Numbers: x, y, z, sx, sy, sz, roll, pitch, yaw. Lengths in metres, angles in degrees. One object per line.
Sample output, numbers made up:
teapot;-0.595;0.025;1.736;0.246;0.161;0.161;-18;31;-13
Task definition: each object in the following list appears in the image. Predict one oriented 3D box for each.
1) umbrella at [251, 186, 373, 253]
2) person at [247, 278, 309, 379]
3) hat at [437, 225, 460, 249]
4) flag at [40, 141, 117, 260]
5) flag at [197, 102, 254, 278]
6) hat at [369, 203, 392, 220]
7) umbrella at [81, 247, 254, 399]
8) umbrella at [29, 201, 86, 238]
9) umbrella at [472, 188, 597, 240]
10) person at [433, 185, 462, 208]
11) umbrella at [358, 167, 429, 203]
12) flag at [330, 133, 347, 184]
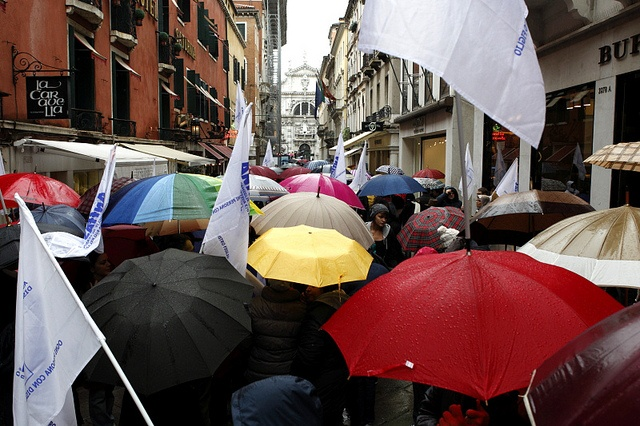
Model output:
umbrella;-0.080;0.016;8.190;1.025;0.511;1.138;7;28;-5
person;-0.450;1.227;5.817;0.631;1.036;0.364;1;5;-1
hat;1.676;0.331;7.380;0.216;0.311;0.125;13;3;40
flag;-2.120;-0.154;5.291;0.609;0.859;0.425;27;24;25
flag;-0.971;-0.369;6.258;0.478;2.237;0.328;5;-21;-2
hat;0.947;-0.027;8.679;0.212;0.212;0.237;-3;10;-21
umbrella;-1.454;1.047;5.356;1.410;0.939;1.549;2;43;-9
umbrella;-3.157;0.090;6.825;0.472;0.275;0.512;5;29;-12
umbrella;2.605;0.052;7.208;0.892;0.419;0.972;-5;-3;24
person;2.740;-0.332;11.972;0.497;0.415;0.960;3;6;12
umbrella;1.712;-0.635;13.101;1.149;0.532;1.232;-12;5;-3
flag;0.424;-1.206;12.432;0.336;1.312;0.254;11;-31;-11
